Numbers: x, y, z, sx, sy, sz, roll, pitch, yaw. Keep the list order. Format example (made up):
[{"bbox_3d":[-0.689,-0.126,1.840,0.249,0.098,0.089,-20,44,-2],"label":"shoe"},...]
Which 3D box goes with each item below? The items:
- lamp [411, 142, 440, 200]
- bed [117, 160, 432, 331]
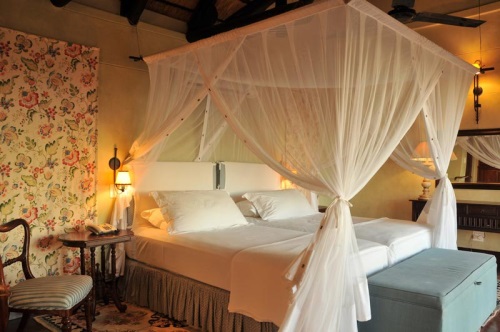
[{"bbox_3d":[2.401,0.082,4.629,0.333,0.673,0.343,1,7,7],"label":"lamp"},{"bbox_3d":[-0.107,0.862,4.001,2.327,1.238,2.429,-3,-2,43],"label":"bed"}]
